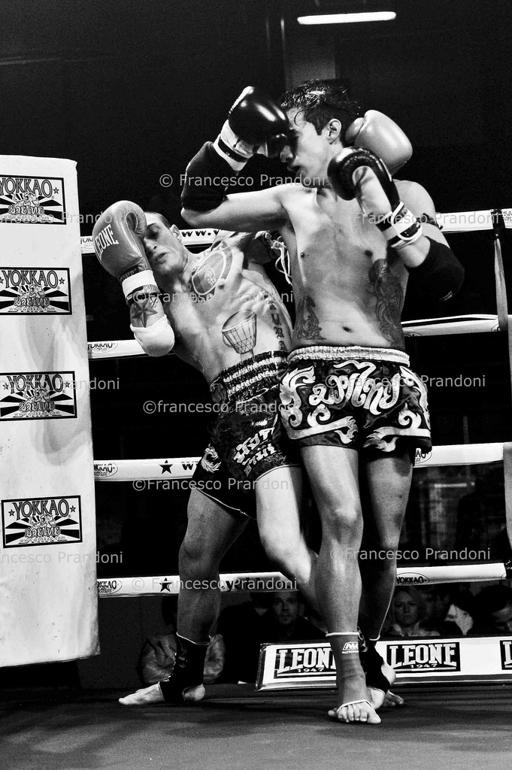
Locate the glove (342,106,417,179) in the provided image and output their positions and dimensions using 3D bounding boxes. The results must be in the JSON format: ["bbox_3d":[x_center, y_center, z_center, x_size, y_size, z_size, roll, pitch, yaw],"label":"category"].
[{"bbox_3d":[0.329,-0.630,2.546,0.180,0.151,0.172,-27,48,32],"label":"glove"}]

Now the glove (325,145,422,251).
[{"bbox_3d":[0.297,-0.461,2.374,0.090,0.262,0.205,-41,-1,9],"label":"glove"}]

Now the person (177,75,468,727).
[{"bbox_3d":[0.273,0.033,2.458,0.594,1.396,1.138,-12,32,-13],"label":"person"}]
